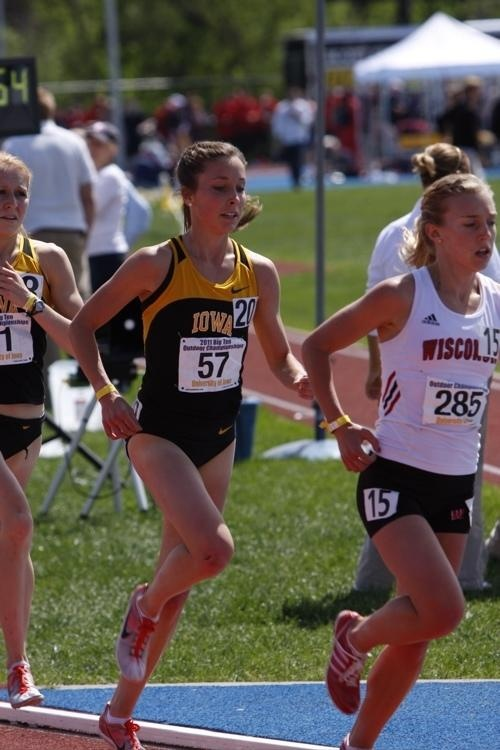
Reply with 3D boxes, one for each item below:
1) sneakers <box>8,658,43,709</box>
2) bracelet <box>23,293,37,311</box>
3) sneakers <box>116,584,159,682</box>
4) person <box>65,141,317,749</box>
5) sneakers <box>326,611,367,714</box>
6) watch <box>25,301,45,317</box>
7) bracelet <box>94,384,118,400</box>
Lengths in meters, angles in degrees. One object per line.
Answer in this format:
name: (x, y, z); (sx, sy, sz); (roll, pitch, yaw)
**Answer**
sneakers: (-0.630, 0.872, 2.571); (0.070, 0.078, 0.188); (-10, -9, -16)
bracelet: (-0.659, -0.217, 2.771); (0.029, 0.050, 0.040); (27, -1, 22)
sneakers: (-0.315, 0.716, 2.547); (0.093, 0.251, 0.118); (13, -18, -26)
person: (-0.150, 0.207, 2.682); (0.577, 1.746, 0.804); (-2, 13, 24)
sneakers: (0.292, 0.777, 2.522); (0.108, 0.270, 0.128); (-10, 11, -40)
watch: (-0.649, -0.204, 2.787); (0.044, 0.029, 0.054); (17, -32, -39)
bracelet: (-0.402, 0.054, 2.589); (0.044, 0.025, 0.057); (13, 29, 32)
